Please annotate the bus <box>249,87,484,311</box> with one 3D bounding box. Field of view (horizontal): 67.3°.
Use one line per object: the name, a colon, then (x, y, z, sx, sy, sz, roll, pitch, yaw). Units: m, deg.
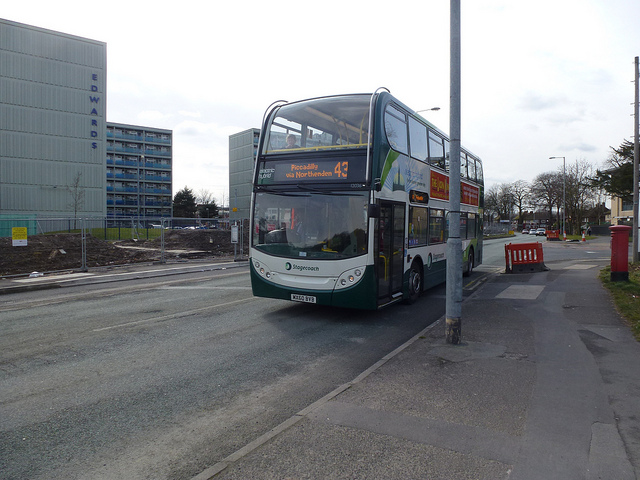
bus: (1.146, -0.783, 11.755, 5.393, 5.426, 2.575, -7, 10, -35)
